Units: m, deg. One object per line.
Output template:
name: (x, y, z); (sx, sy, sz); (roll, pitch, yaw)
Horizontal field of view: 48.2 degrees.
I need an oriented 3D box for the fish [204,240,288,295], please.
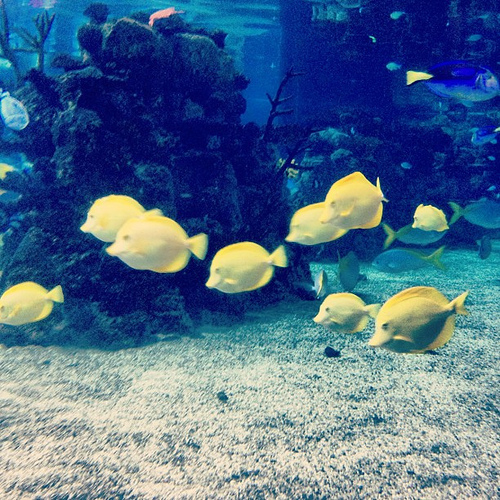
fish: (-0.087, 0.213, 6.408); (0.718, 0.398, 0.198); (-15, 15, -8)
